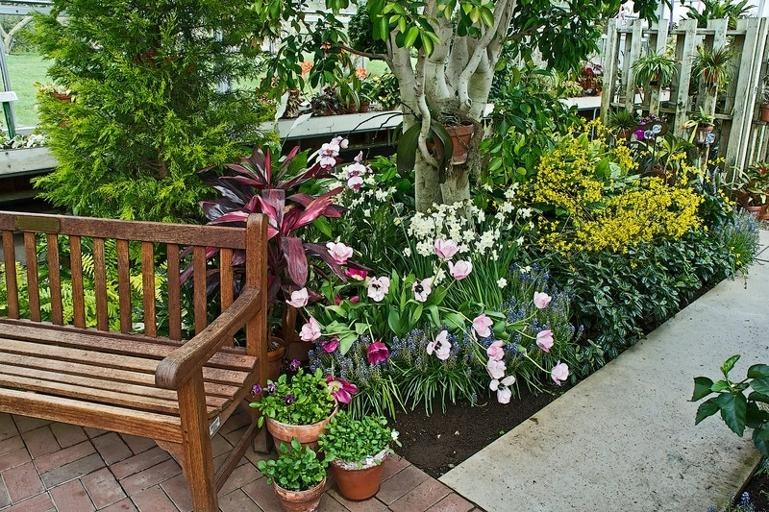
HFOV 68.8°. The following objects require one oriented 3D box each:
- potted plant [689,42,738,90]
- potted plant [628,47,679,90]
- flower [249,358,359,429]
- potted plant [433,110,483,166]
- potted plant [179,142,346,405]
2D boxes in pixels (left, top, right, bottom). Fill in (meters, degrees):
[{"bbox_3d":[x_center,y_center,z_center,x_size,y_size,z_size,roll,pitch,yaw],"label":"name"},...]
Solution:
[{"bbox_3d":[3.260,-1.869,5.594,0.441,0.408,0.451,-1,19,-2],"label":"potted plant"},{"bbox_3d":[2.838,-1.943,5.899,0.443,0.334,0.452,4,27,15],"label":"potted plant"},{"bbox_3d":[-0.406,0.690,2.893,0.353,0.154,0.340,2,32,-1],"label":"flower"},{"bbox_3d":[0.488,-0.784,3.781,0.311,0.262,0.320,-2,5,-13],"label":"potted plant"},{"bbox_3d":[-0.724,0.057,3.457,0.959,0.899,0.985,20,46,23],"label":"potted plant"}]
